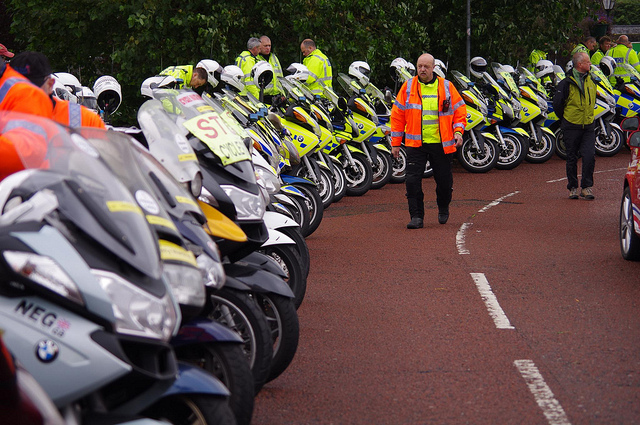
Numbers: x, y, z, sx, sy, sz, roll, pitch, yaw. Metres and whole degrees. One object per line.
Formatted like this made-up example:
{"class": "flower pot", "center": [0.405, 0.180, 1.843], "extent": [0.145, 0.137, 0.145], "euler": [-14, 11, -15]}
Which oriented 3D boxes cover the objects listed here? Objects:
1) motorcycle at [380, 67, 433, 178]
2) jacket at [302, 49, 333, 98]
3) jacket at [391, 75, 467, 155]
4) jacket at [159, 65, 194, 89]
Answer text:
{"class": "motorcycle", "center": [2.649, -2.574, 16.103], "extent": [1.845, 3.212, 1.515], "euler": [3, -1, -16]}
{"class": "jacket", "center": [-0.029, -3.463, 14.259], "extent": [0.528, 0.989, 0.979], "euler": [4, 10, 19]}
{"class": "jacket", "center": [1.944, -1.808, 10.429], "extent": [1.241, 1.353, 0.658], "euler": [3, 18, 14]}
{"class": "jacket", "center": [-2.367, -2.289, 9.615], "extent": [0.430, 0.373, 1.129], "euler": [-4, 11, -13]}
